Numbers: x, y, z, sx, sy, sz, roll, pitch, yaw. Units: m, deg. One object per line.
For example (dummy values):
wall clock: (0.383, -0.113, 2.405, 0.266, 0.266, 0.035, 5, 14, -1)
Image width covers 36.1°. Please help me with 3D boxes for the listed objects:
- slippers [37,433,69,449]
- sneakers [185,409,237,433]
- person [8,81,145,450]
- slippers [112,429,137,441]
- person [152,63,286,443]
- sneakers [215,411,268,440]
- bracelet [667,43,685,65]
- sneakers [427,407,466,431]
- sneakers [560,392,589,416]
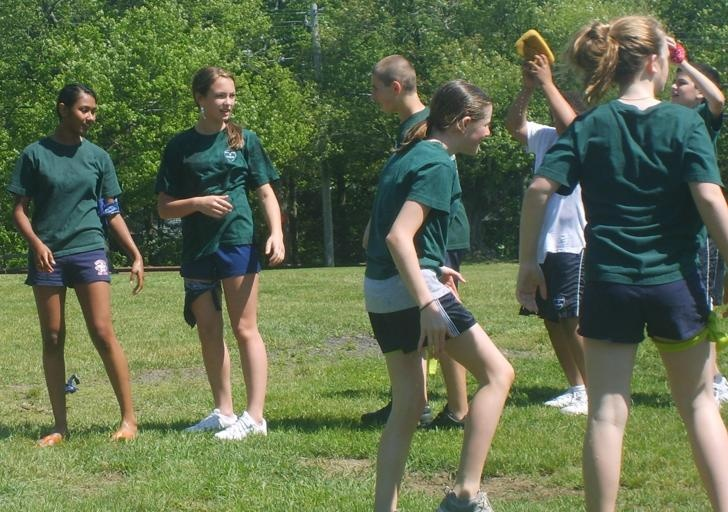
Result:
slippers: (-2.799, 1.648, 10.029, 0.235, 0.075, 0.172, -2, 5, -15)
sneakers: (-1.371, 1.536, 10.246, 0.551, 0.214, 0.179, 1, -4, -9)
person: (-2.625, 0.038, 10.157, 1.086, 3.261, 0.653, -2, 5, -11)
slippers: (-2.140, 1.613, 10.011, 0.226, 0.072, 0.218, -2, 4, -13)
person: (-1.304, -0.066, 10.220, 1.119, 3.359, 0.720, -2, 5, -8)
sneakers: (-1.091, 1.560, 10.056, 0.550, 0.212, 0.179, 4, -1, -35)
bracelet: (2.455, -1.617, 8.811, 0.133, 0.159, 0.065, 2, -5, 1)
sneakers: (0.754, 1.548, 10.379, 0.458, 0.171, 0.147, 0, -4, 6)
sneakers: (2.086, 1.428, 10.727, 0.192, 0.198, 0.545, 2, -3, 40)
